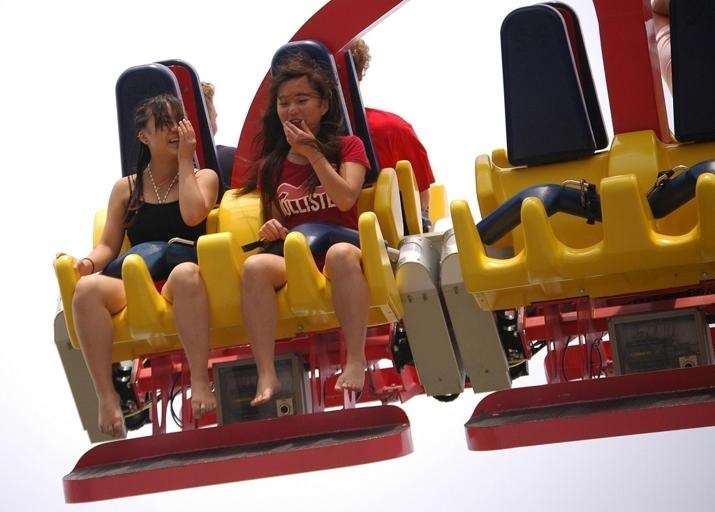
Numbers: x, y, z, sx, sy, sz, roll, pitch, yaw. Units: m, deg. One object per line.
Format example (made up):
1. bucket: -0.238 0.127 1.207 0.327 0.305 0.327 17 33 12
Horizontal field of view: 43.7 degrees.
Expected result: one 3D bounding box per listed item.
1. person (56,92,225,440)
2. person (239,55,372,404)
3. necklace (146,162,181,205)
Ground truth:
1. person: -0.813 -0.017 3.531 0.600 1.403 0.664 -7 -6 -9
2. person: -0.197 -0.181 3.531 0.536 1.445 0.633 -8 -6 0
3. necklace: -0.797 -0.299 3.723 0.172 0.183 0.042 2 -8 2
